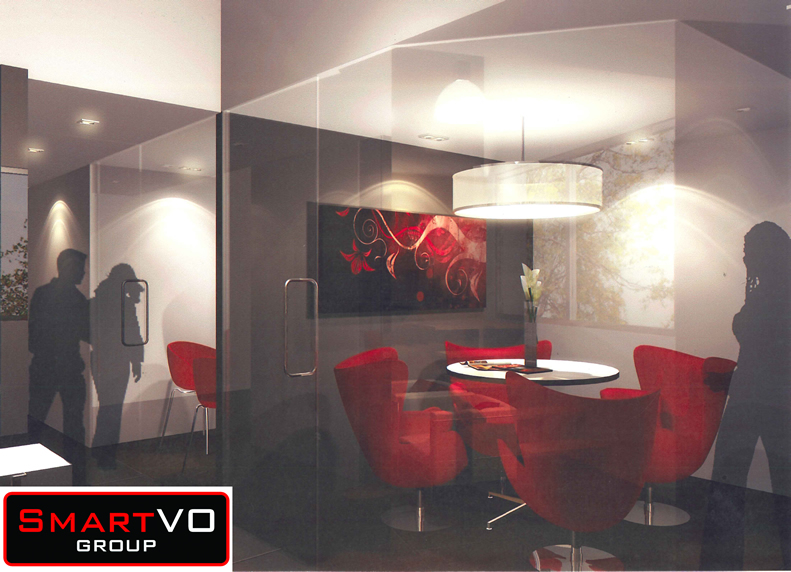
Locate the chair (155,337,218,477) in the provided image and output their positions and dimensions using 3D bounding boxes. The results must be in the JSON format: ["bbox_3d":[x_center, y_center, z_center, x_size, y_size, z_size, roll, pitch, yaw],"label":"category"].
[{"bbox_3d":[-1.191,0.630,4.031,0.308,0.628,0.223,-1,2,-16],"label":"chair"}]

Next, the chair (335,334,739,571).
[{"bbox_3d":[0.483,0.684,3.226,1.235,0.711,0.881,-4,-6,28],"label":"chair"}]

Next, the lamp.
[{"bbox_3d":[0.586,-0.578,3.200,0.593,0.428,0.602,2,3,32],"label":"lamp"}]
